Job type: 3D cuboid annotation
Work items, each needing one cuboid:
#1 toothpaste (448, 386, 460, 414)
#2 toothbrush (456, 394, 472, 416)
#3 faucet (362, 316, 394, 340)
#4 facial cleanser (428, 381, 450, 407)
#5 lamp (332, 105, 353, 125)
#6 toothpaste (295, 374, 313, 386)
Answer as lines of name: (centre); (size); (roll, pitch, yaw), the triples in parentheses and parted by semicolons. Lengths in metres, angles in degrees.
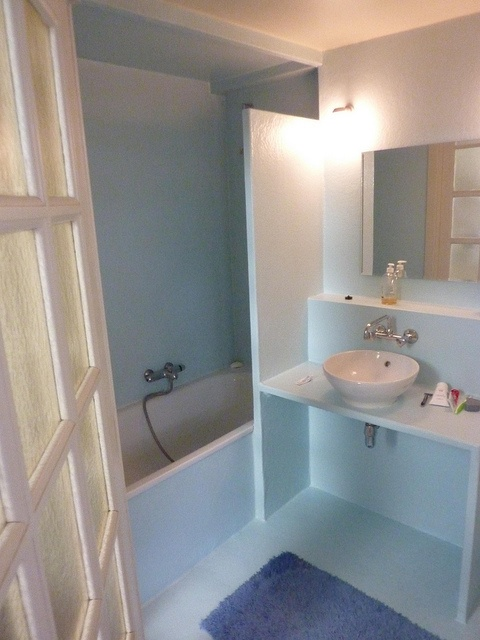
toothpaste: (0.934, 0.352, 2.005); (0.033, 0.042, 0.161); (1, 32, 29)
toothbrush: (0.998, 0.347, 2.045); (0.041, 0.038, 0.296); (4, 15, 32)
faucet: (0.651, 0.038, 2.232); (0.074, 0.136, 0.217); (7, 14, 42)
facial cleanser: (0.880, 0.336, 2.023); (0.066, 0.035, 0.107); (2, 38, 31)
lamp: (0.531, -1.057, 2.410); (0.100, 0.132, 0.075); (19, 26, 42)
toothpaste: (0.330, 0.306, 2.365); (0.038, 0.016, 0.077); (5, 13, 32)
